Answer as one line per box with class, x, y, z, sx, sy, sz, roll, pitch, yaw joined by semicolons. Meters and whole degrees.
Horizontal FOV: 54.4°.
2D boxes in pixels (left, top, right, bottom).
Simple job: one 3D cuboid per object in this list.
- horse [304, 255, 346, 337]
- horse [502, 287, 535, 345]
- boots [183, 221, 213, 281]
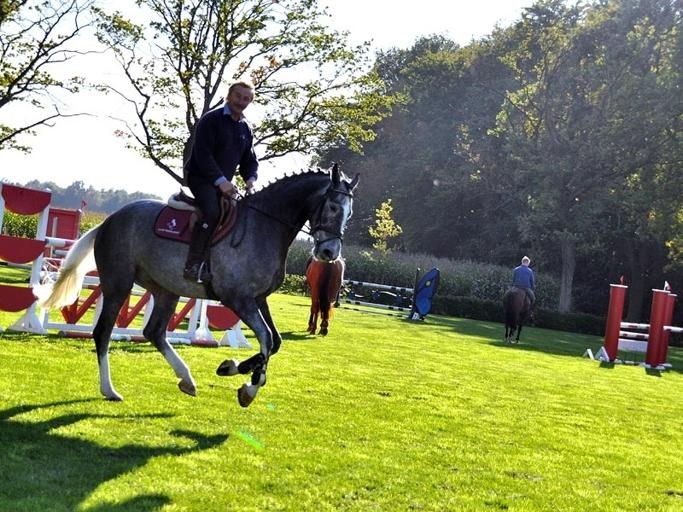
horse;-0.413;0.680;16.034;0.710;2.256;3.058;10;-1;-2
horse;5.503;1.516;21.377;0.645;2.023;2.706;1;9;15
boots;-1.626;-0.072;7.628;0.284;0.673;0.287;4;7;38
